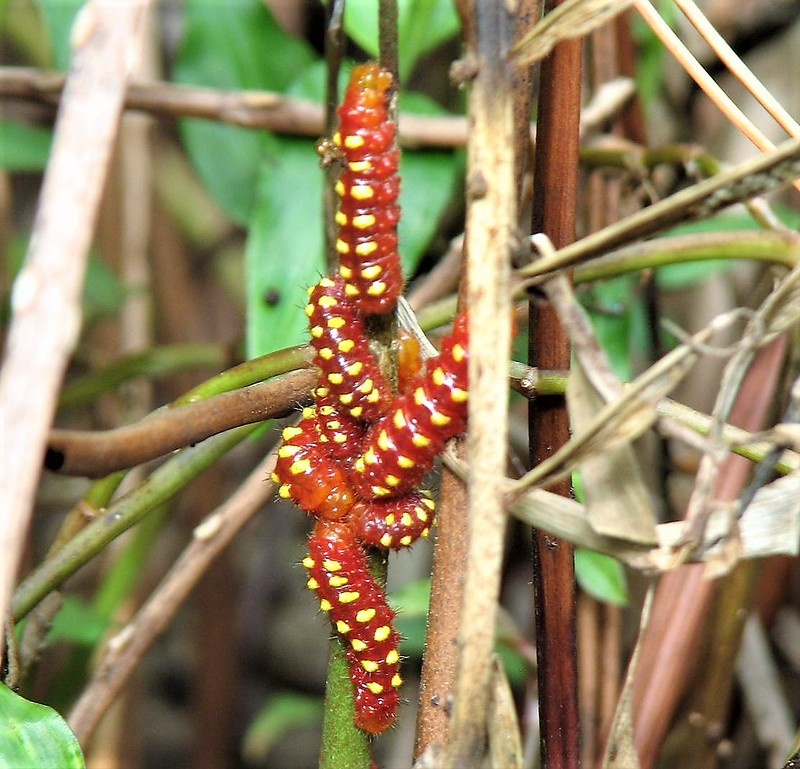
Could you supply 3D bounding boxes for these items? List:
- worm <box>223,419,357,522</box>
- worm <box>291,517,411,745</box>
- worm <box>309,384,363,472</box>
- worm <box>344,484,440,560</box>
[{"bbox_3d":[-0.074,0.065,0.830,0.053,0.024,0.063,-80,146,-63],"label":"worm"},{"bbox_3d":[-0.029,0.162,0.838,0.046,0.040,0.138,-20,82,-6],"label":"worm"},{"bbox_3d":[-0.038,0.031,0.860,0.021,0.032,0.056,-30,102,-40],"label":"worm"},{"bbox_3d":[-0.011,0.091,0.797,0.044,0.026,0.041,8,57,9],"label":"worm"}]
